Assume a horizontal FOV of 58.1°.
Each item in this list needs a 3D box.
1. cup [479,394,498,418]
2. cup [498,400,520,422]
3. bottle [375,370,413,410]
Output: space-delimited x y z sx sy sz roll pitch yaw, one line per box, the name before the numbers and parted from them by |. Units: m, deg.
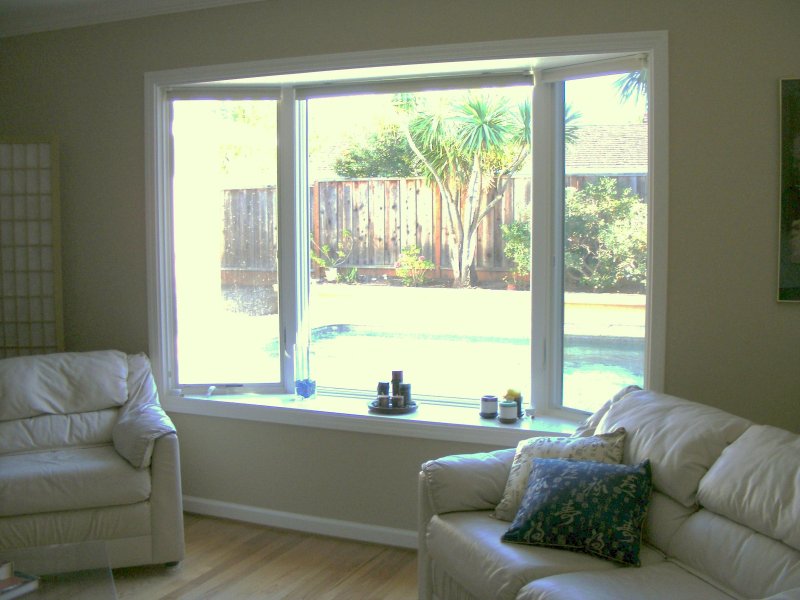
cup | 0.516 0.625 4.229 0.105 0.122 0.107 0 -1 0
cup | 0.624 0.629 4.112 0.109 0.106 0.111 -1 2 0
bottle | -0.015 0.526 4.385 0.212 0.220 0.231 2 0 15
